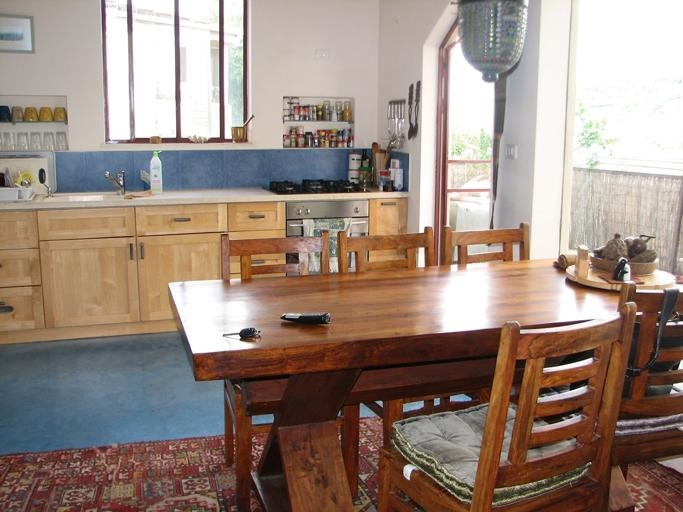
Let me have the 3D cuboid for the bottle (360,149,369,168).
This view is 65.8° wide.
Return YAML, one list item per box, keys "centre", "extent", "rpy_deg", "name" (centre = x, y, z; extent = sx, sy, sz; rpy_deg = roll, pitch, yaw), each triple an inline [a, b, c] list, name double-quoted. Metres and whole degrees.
- centre: [0.260, -1.041, 5.647]
  extent: [0.085, 0.194, 0.225]
  rpy_deg: [-1, 10, 5]
  name: "bottle"

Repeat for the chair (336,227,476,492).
- centre: [0.341, 0.392, 2.718]
  extent: [0.825, 1.351, 0.852]
  rpy_deg: [-4, 16, -8]
  name: "chair"

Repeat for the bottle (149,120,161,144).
- centre: [-1.823, -1.213, 5.155]
  extent: [0.103, 0.239, 0.148]
  rpy_deg: [-6, 11, -16]
  name: "bottle"

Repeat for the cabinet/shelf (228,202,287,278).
- centre: [-0.732, 0.006, 5.024]
  extent: [0.613, 0.959, 0.595]
  rpy_deg: [-1, -4, -2]
  name: "cabinet/shelf"

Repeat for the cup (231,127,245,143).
- centre: [-1.053, -1.235, 5.374]
  extent: [0.093, 0.119, 0.129]
  rpy_deg: [-21, 31, -39]
  name: "cup"

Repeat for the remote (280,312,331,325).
- centre: [-0.122, 0.227, 1.911]
  extent: [0.209, 0.050, 0.058]
  rpy_deg: [3, -1, 20]
  name: "remote"

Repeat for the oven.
- centre: [-0.135, -0.234, 5.038]
  extent: [0.810, 0.483, 0.514]
  rpy_deg: [-2, 15, -10]
  name: "oven"

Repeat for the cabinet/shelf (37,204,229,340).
- centre: [-1.693, 0.089, 4.696]
  extent: [1.733, 1.011, 0.571]
  rpy_deg: [-3, 0, 7]
  name: "cabinet/shelf"

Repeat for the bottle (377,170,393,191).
- centre: [0.447, -0.762, 5.336]
  extent: [0.151, 0.204, 0.277]
  rpy_deg: [-1, 10, 5]
  name: "bottle"
